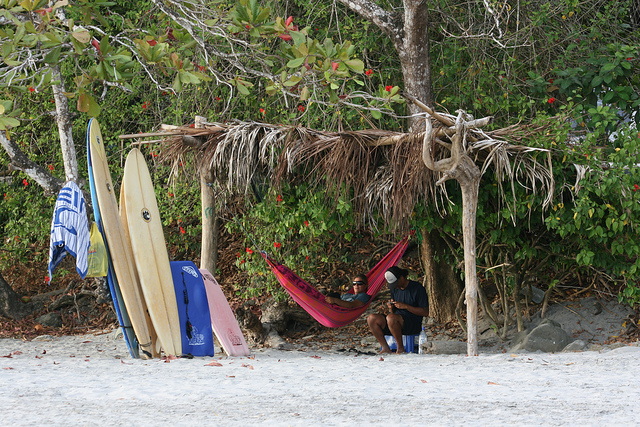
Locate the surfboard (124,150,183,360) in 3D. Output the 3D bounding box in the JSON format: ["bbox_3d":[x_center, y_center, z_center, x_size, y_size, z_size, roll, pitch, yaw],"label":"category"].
[{"bbox_3d":[-2.574,0.487,13.582,0.650,3.592,0.370,-1,-14,-45],"label":"surfboard"}]

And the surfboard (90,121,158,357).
[{"bbox_3d":[-2.816,0.483,13.211,0.671,3.046,1.197,-8,12,-37],"label":"surfboard"}]

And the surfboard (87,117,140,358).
[{"bbox_3d":[-2.935,0.071,13.333,0.215,3.209,0.584,-13,-1,22],"label":"surfboard"}]

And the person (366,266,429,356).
[{"bbox_3d":[1.188,1.451,14.343,0.894,1.266,0.572,-3,10,-11],"label":"person"}]

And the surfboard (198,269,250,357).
[{"bbox_3d":[-1.427,1.396,13.902,0.364,1.692,0.135,-7,37,18],"label":"surfboard"}]

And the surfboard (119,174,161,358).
[{"bbox_3d":[-2.565,0.717,13.383,0.628,2.512,0.547,8,-4,-22],"label":"surfboard"}]
